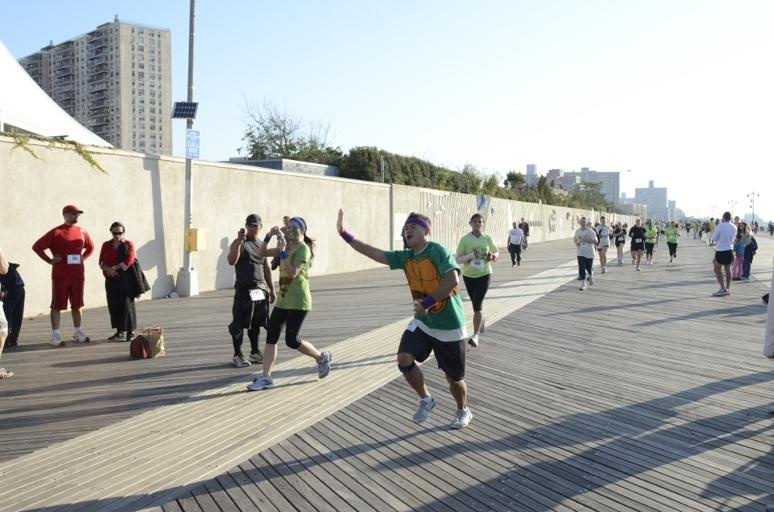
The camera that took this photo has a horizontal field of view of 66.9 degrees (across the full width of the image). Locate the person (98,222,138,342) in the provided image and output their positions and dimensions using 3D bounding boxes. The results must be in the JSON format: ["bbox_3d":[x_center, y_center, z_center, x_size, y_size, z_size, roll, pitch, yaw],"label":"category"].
[{"bbox_3d":[-4.870,0.472,10.787,0.602,2.139,0.671,-5,10,-28],"label":"person"}]

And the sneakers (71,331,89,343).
[{"bbox_3d":[-5.527,1.477,10.648,0.127,0.183,0.375,-3,-7,22],"label":"sneakers"}]

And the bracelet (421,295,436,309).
[{"bbox_3d":[0.476,0.530,6.744,0.138,0.151,0.150,-33,-25,-4],"label":"bracelet"}]

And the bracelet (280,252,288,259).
[{"bbox_3d":[-1.393,-0.007,8.041,0.085,0.094,0.090,0,2,-12],"label":"bracelet"}]

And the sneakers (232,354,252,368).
[{"bbox_3d":[-2.248,1.664,9.247,0.143,0.164,0.358,1,1,22],"label":"sneakers"}]

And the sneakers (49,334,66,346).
[{"bbox_3d":[-5.828,1.474,10.428,0.210,0.198,0.337,-7,12,-32],"label":"sneakers"}]

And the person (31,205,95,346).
[{"bbox_3d":[-5.728,0.530,10.611,0.874,2.060,0.675,-7,11,-34],"label":"person"}]

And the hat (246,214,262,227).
[{"bbox_3d":[-2.068,-0.562,9.235,0.207,0.169,0.290,3,3,-3],"label":"hat"}]

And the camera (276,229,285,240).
[{"bbox_3d":[-1.450,-0.315,8.118,0.040,0.134,0.090,-26,16,-18],"label":"camera"}]

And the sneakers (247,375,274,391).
[{"bbox_3d":[-1.754,1.813,8.266,0.378,0.213,0.158,0,-6,-5],"label":"sneakers"}]

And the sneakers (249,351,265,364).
[{"bbox_3d":[-2.056,1.631,9.323,0.290,0.152,0.122,-2,3,5],"label":"sneakers"}]

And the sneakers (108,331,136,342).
[{"bbox_3d":[-4.833,1.449,10.822,0.544,0.259,0.218,3,-2,3],"label":"sneakers"}]

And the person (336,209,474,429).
[{"bbox_3d":[0.412,0.774,7.131,1.220,2.581,0.727,4,10,24],"label":"person"}]

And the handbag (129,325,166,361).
[{"bbox_3d":[-3.985,1.453,9.862,0.535,0.602,0.410,-5,1,12],"label":"handbag"}]

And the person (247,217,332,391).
[{"bbox_3d":[-1.353,0.663,8.277,1.076,2.365,0.443,-3,9,-14],"label":"person"}]

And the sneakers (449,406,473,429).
[{"bbox_3d":[0.928,2.001,7.209,0.131,0.160,0.365,-11,-8,22],"label":"sneakers"}]

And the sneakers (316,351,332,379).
[{"bbox_3d":[-0.880,1.578,8.540,0.172,0.430,0.160,-2,8,-13],"label":"sneakers"}]

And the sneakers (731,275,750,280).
[{"bbox_3d":[11.643,0.715,19.348,0.371,0.181,0.135,5,-10,-7],"label":"sneakers"}]
